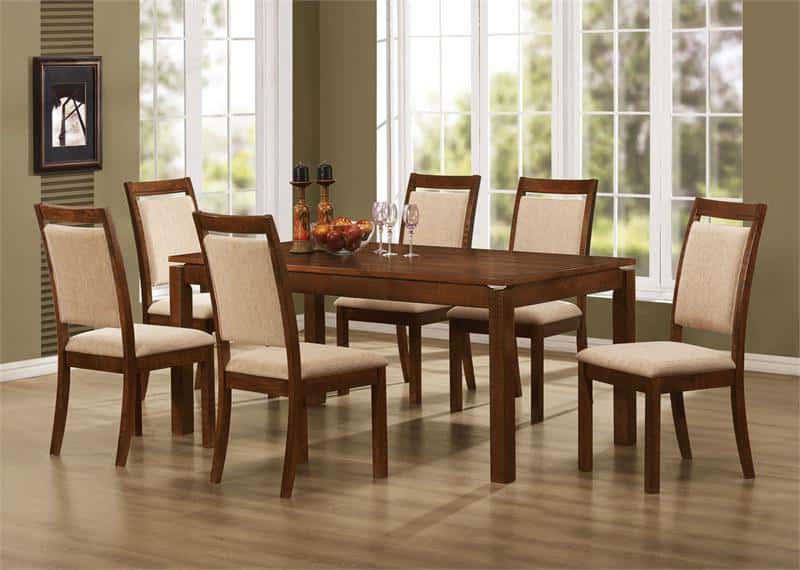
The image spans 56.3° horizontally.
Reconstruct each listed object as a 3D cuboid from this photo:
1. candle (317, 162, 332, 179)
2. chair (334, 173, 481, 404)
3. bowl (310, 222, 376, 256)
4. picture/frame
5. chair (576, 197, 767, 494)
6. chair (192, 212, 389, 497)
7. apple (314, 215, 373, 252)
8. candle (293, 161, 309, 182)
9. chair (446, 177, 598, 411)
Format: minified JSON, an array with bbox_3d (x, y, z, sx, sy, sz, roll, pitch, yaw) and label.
[{"bbox_3d":[-0.405,-0.615,4.054,0.074,0.103,0.295,-2,8,-8],"label":"candle"},{"bbox_3d":[0.065,-0.027,4.681,0.908,1.262,0.794,-7,12,-35],"label":"chair"},{"bbox_3d":[-0.297,-0.260,3.935,0.225,0.111,0.215,-1,-1,0],"label":"bowl"},{"bbox_3d":[-2.323,-1.195,5.220,0.052,0.833,0.522,8,12,44],"label":"picture/frame"},{"bbox_3d":[1.235,0.235,3.402,0.739,1.240,0.808,7,11,42],"label":"chair"},{"bbox_3d":[-0.485,0.287,3.238,0.846,1.195,0.419,-1,9,0],"label":"chair"},{"bbox_3d":[-0.308,-0.263,3.976,0.231,0.117,0.221,-1,-1,5],"label":"apple"},{"bbox_3d":[-0.505,-0.574,3.844,0.073,0.087,0.144,-1,8,-3],"label":"candle"},{"bbox_3d":[0.755,0.046,4.390,0.648,1.284,0.787,5,14,42],"label":"chair"}]
